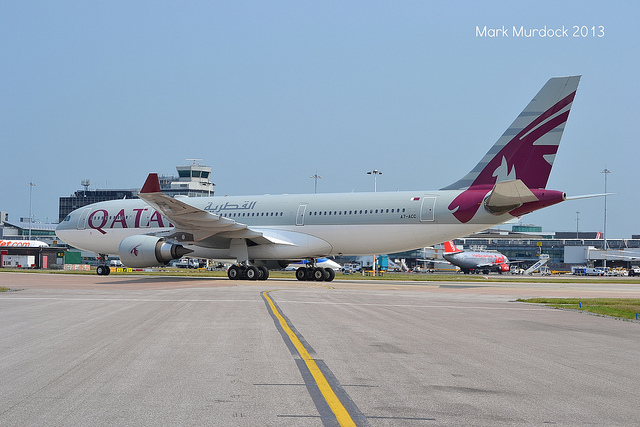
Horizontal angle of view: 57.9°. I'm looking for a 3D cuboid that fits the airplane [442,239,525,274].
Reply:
[{"bbox_3d":[23.354,5.643,81.702,11.008,3.919,12.535,2,11,1],"label":"airplane"}]
